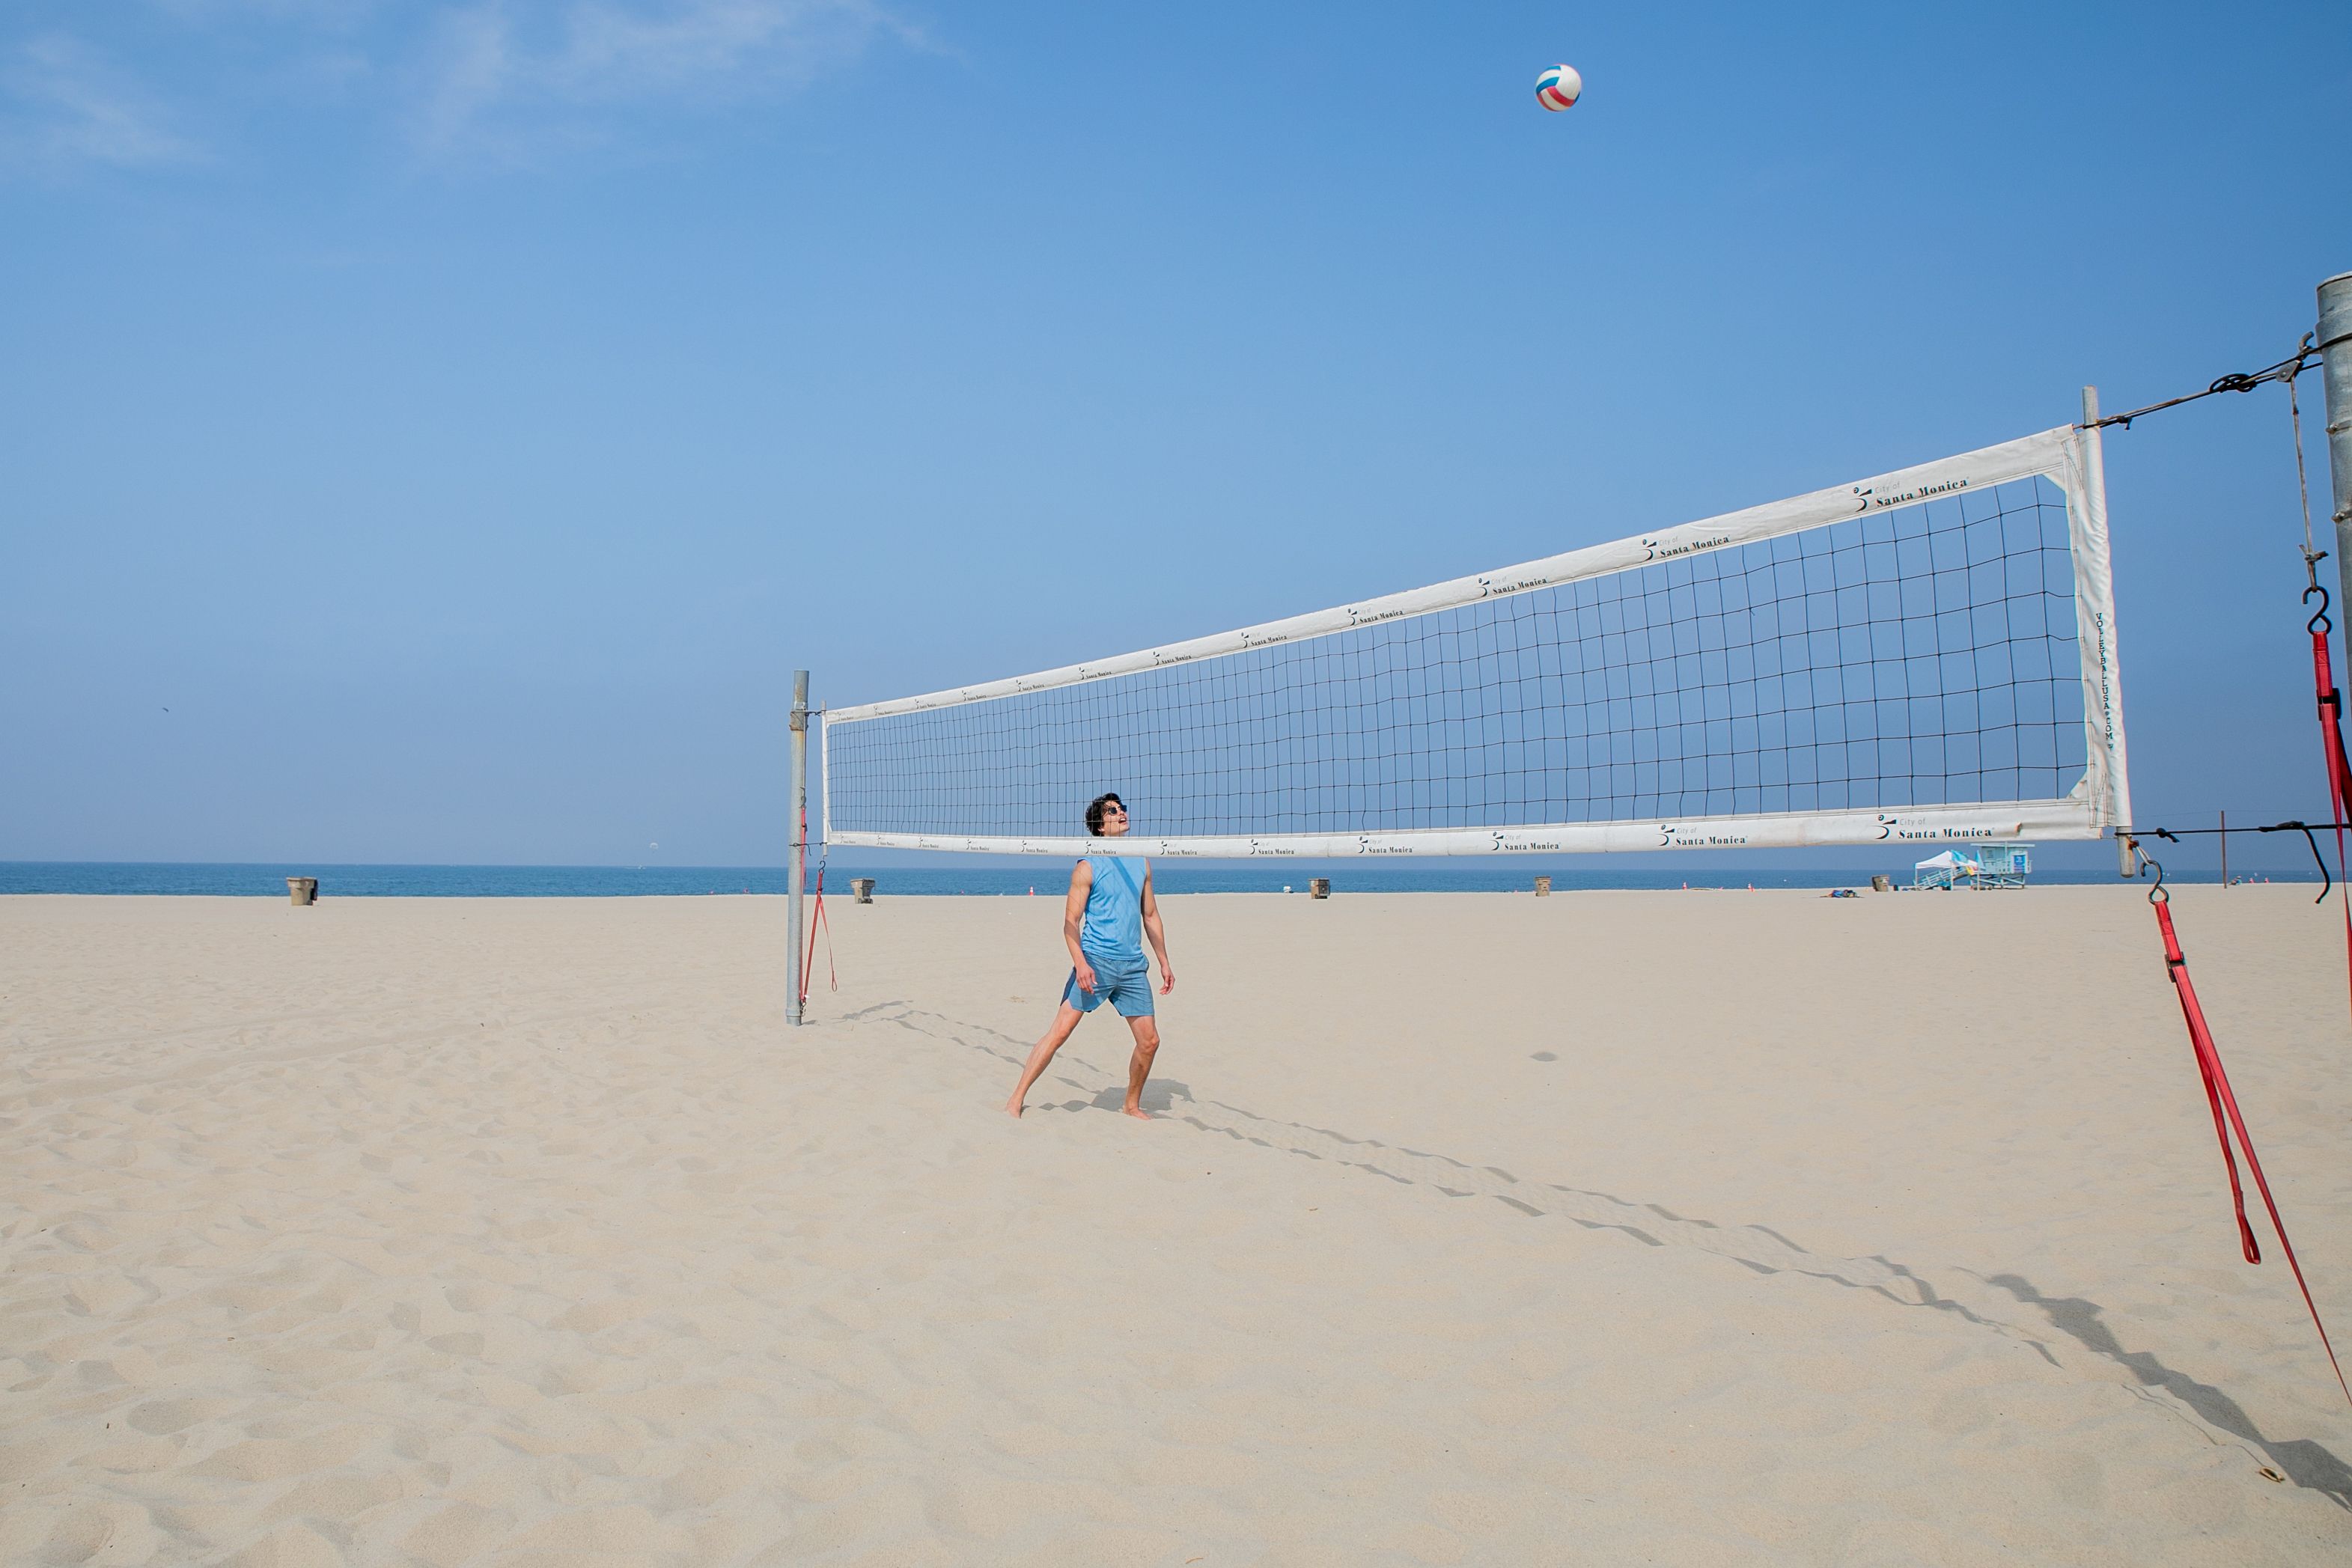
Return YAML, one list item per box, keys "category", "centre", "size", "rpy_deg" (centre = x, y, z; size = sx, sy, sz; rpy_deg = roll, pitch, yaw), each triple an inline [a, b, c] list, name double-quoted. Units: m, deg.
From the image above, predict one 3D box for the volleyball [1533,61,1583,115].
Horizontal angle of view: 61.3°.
- category: "volleyball"
  centre: [2.187, -3.947, 11.225]
  size: [0.200, 0.302, 0.435]
  rpy_deg: [1, 4, 4]
